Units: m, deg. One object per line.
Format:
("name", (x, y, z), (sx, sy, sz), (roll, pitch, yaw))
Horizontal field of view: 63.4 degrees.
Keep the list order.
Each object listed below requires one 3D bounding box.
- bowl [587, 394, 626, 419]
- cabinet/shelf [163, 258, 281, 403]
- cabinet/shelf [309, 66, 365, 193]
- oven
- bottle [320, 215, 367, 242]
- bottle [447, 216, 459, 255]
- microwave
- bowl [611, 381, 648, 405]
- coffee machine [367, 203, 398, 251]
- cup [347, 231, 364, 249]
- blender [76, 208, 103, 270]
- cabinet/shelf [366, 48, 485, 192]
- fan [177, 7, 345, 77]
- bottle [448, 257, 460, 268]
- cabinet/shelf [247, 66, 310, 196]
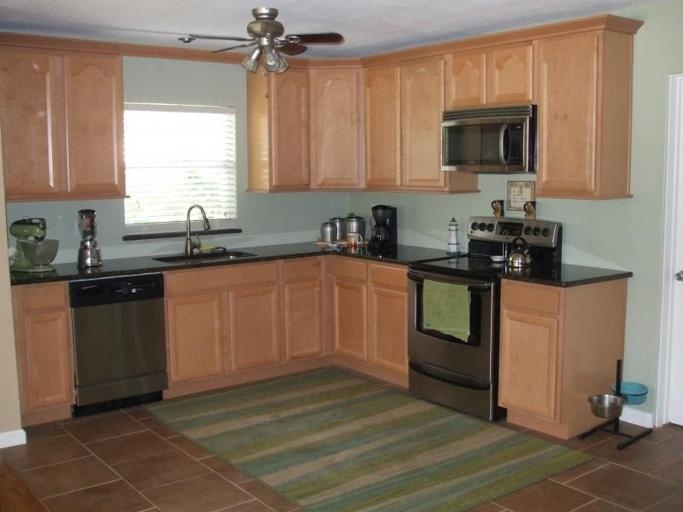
("bowl", (1.858, 1.053, 3.867), (0.218, 0.082, 0.216), (0, 4, 0))
("cabinet/shelf", (-1.077, 0.645, 4.801), (1.326, 1.047, 0.483), (-3, 5, -35))
("cabinet/shelf", (-0.048, -1.260, 5.482), (0.515, 1.159, 0.137), (0, 12, 3))
("oven", (1.149, 0.669, 4.603), (0.982, 1.122, 1.011), (-4, 6, -27))
("bottle", (0.016, -0.281, 5.671), (0.468, 0.278, 0.257), (-3, 8, -15))
("bottle", (1.046, -0.194, 5.118), (0.108, 0.298, 0.284), (1, 11, 10))
("microwave", (1.178, -0.945, 4.485), (0.165, 0.516, 0.835), (-11, 15, -39))
("bowl", (2.134, 0.995, 4.042), (0.220, 0.075, 0.201), (-2, 3, 0))
("coffee machine", (0.423, -0.301, 5.542), (0.267, 0.399, 0.348), (0, 11, 3))
("cup", (0.132, -0.153, 5.511), (0.208, 0.193, 0.122), (-3, 7, -26))
("blender", (-2.094, -0.138, 4.530), (0.178, 0.452, 0.288), (-6, 13, -24))
("cabinet/shelf", (0.784, -1.217, 4.882), (0.476, 1.181, 1.459), (-3, 5, -39))
("fan", (-0.652, -1.594, 4.091), (0.960, 0.315, 0.878), (-5, 9, -34))
("bottle", (0.940, 0.056, 4.596), (0.092, 0.099, 0.154), (-3, 0, -3))
("cabinet/shelf", (-0.623, -1.248, 5.390), (0.647, 1.233, 0.370), (-2, 12, -3))
